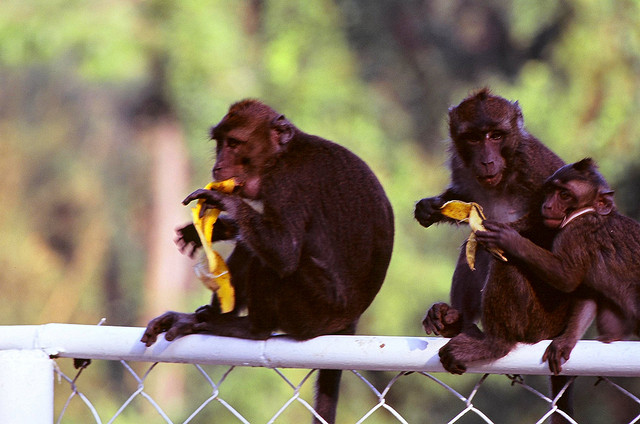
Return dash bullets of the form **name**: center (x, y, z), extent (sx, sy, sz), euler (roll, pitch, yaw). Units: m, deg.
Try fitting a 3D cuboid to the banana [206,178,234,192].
- **banana**: center (-1.001, -0.285, 14.083), extent (0.366, 0.101, 0.141), euler (-1, 7, -11)
